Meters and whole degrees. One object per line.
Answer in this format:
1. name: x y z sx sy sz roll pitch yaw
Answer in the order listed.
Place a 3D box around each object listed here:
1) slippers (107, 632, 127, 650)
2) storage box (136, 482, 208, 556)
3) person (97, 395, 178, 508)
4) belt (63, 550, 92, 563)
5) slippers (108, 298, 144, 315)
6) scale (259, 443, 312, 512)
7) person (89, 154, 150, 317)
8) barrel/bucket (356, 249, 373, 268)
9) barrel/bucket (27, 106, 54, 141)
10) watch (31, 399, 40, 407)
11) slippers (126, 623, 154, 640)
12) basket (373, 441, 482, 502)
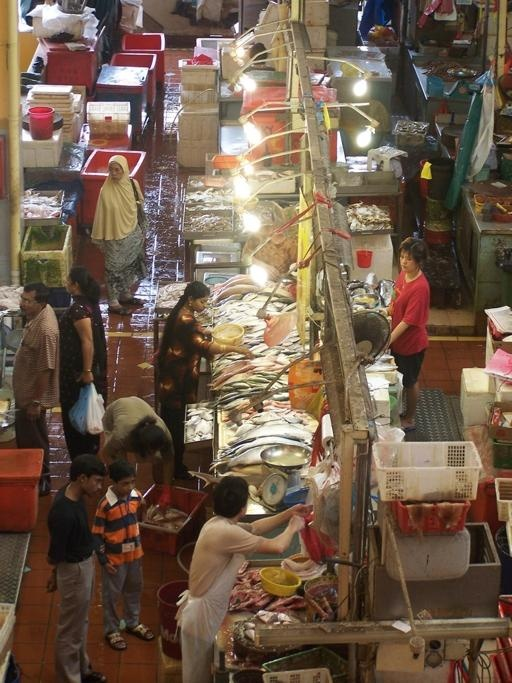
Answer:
1. slippers: -0.961 2.015 4.352 0.078 0.065 0.177 -13 19 -35
2. storage box: -0.677 1.501 5.295 0.525 0.301 0.653 9 27 14
3. person: -1.028 0.800 5.366 0.615 0.973 0.832 -8 49 -20
4. belt: -1.029 1.225 3.652 0.113 0.035 0.079 -19 0 -5
5. slippers: -1.840 -0.503 9.129 0.365 0.081 0.270 11 21 35
6. scale: 0.173 0.886 4.039 0.276 0.310 0.283 3 -6 -41
7. person: -1.877 -1.430 8.686 0.453 2.064 0.770 10 37 17
8. barrel/bucket: 1.373 -1.043 8.060 0.243 0.185 0.216 -8 21 -23
9. barrel/bucket: -3.463 -3.499 10.239 0.407 0.420 0.404 -1 34 1
10. watch: -1.939 0.548 5.591 0.071 0.063 0.027 -2 35 -2
11. slippers: -0.791 2.005 4.429 0.207 0.073 0.086 15 28 13
12. basket: 0.530 0.399 1.965 0.350 0.113 0.206 0 29 1
